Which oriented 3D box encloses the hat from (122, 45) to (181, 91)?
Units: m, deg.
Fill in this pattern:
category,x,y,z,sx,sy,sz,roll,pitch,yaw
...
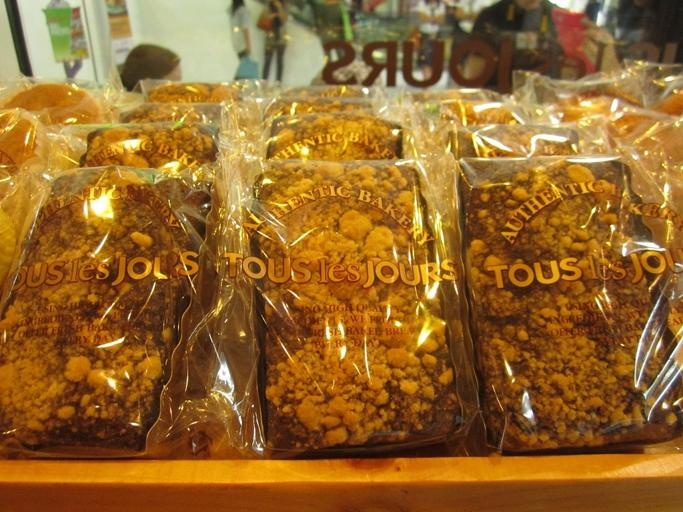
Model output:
category,x,y,z,sx,sy,sz,roll,pitch,yaw
hat,-0.689,-0.680,2.162,0.209,0.132,0.239,-7,32,-14
